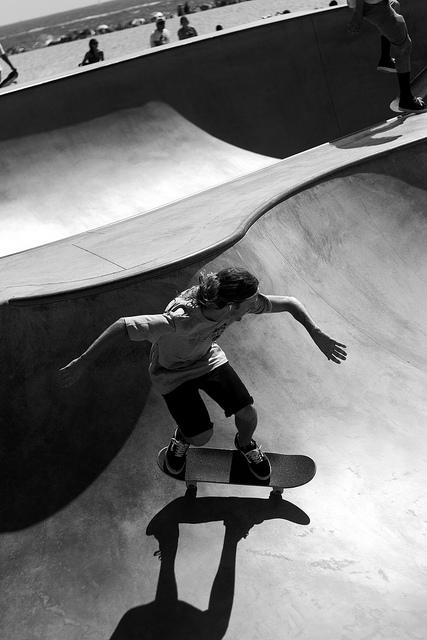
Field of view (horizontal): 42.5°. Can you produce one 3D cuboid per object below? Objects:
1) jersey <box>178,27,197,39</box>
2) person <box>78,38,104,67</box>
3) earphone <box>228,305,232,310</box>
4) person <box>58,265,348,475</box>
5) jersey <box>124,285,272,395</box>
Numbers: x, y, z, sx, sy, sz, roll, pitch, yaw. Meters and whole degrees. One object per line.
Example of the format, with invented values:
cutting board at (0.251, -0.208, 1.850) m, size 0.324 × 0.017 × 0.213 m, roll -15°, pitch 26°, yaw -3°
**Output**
jersey at (-0.568, -6.273, 11.978) m, size 0.382 × 0.182 × 0.459 m, roll 0°, pitch 51°, yaw -9°
person at (-2.481, -5.462, 11.253) m, size 0.423 × 0.515 × 0.756 m, roll -9°, pitch 53°, yaw -15°
earphone at (0.081, -0.065, 2.679) m, size 0.008 × 0.014 × 0.014 m, roll -1°, pitch 60°, yaw -41°
person at (-0.113, 0.263, 3.150) m, size 1.448 × 1.444 × 1.006 m, roll -9°, pitch 54°, yaw -16°
jersey at (-0.131, 0.128, 3.197) m, size 0.864 × 0.410 × 0.278 m, roll -19°, pitch 67°, yaw -33°
